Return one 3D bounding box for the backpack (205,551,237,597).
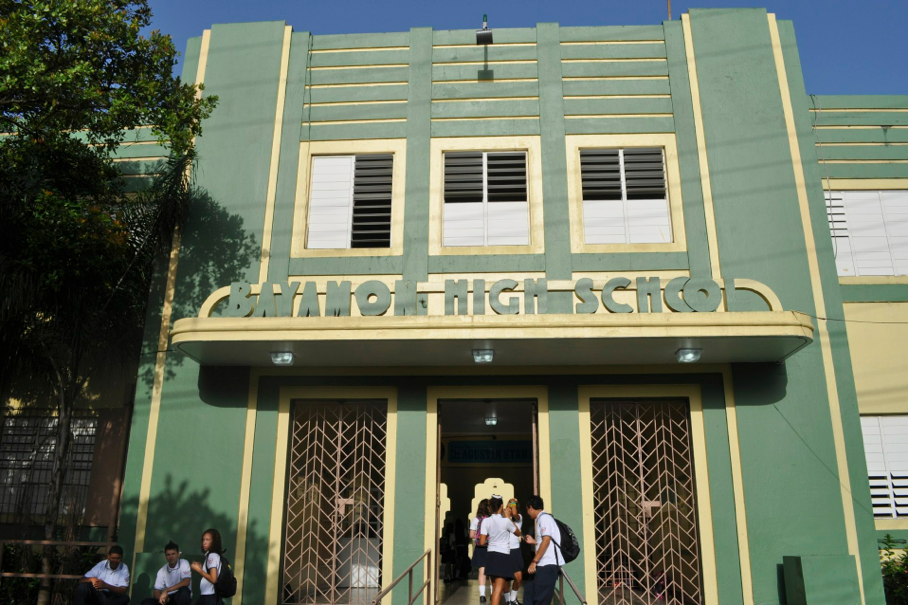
[{"bbox_3d":[-4.050,4.643,12.433,0.556,0.804,0.334,10,-23,-18],"label":"backpack"}]

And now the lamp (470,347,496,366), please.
[{"bbox_3d":[0.604,1.038,14.474,0.407,0.093,0.367,0,-35,1],"label":"lamp"}]

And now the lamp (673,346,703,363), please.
[{"bbox_3d":[4.677,1.007,14.277,0.492,0.180,0.472,-5,-23,17],"label":"lamp"}]
